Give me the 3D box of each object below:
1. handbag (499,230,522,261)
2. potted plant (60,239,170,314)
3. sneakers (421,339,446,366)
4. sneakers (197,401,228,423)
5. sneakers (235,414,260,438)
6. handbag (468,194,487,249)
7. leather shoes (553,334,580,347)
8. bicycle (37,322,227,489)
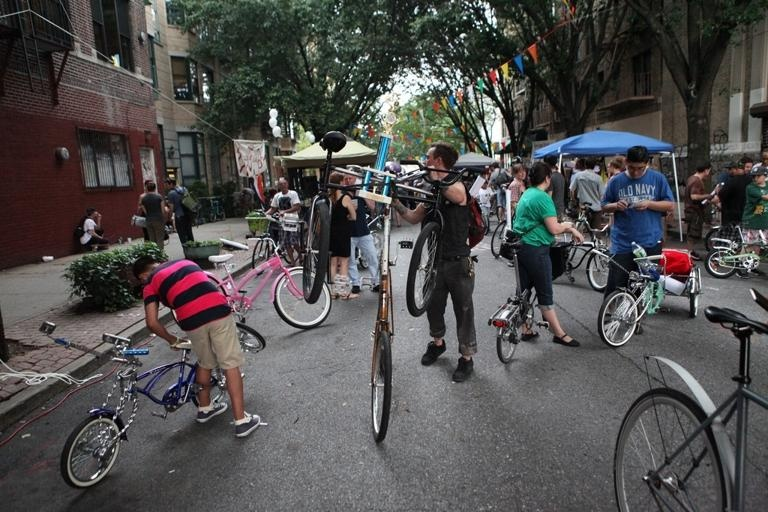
[{"bbox_3d":[1.670,-0.128,6.631,0.347,0.389,0.272,5,-4,-27],"label":"handbag"},{"bbox_3d":[-5.129,0.468,9.186,1.090,0.820,1.427,14,-8,-13],"label":"potted plant"},{"bbox_3d":[0.650,1.234,6.617,0.461,0.210,0.173,-40,20,-30],"label":"sneakers"},{"bbox_3d":[-1.869,1.670,5.612,0.138,0.177,0.393,5,12,28],"label":"sneakers"},{"bbox_3d":[-1.409,1.736,5.285,0.122,0.166,0.340,4,9,17],"label":"sneakers"},{"bbox_3d":[1.161,-0.392,6.010,0.119,0.503,0.338,-4,2,-14],"label":"handbag"},{"bbox_3d":[2.509,1.153,6.928,0.289,0.128,0.151,0,10,15],"label":"leather shoes"},{"bbox_3d":[-2.395,1.341,5.394,1.136,1.355,2.159,19,18,27],"label":"bicycle"}]
